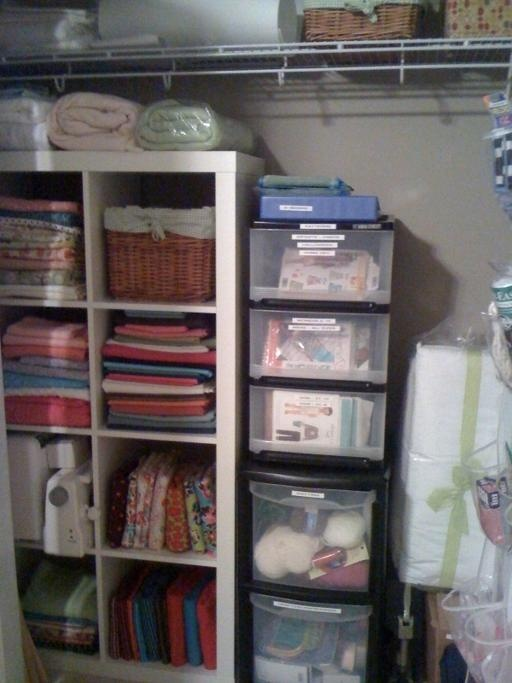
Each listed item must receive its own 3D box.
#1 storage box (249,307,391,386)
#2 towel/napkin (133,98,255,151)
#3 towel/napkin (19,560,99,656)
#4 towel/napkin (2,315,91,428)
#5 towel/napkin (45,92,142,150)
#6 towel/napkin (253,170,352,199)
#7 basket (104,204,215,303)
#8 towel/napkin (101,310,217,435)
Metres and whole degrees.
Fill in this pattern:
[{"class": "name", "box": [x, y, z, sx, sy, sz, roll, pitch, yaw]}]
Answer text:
[{"class": "storage box", "box": [0.162, -0.016, 1.543, 0.372, 0.186, 0.176, 2, 7, 12]}, {"class": "towel/napkin", "box": [-0.156, -0.538, 1.571, 0.222, 0.079, 0.167, -2, 25, -11]}, {"class": "towel/napkin", "box": [-0.600, 0.797, 1.870, 0.224, 0.214, 0.081, -4, -17, 8]}, {"class": "towel/napkin", "box": [-0.585, 0.099, 1.729, 0.241, 0.287, 0.109, -4, 8, -10]}, {"class": "towel/napkin", "box": [-0.405, -0.546, 1.566, 0.206, 0.147, 0.071, -2, -17, -1]}, {"class": "towel/napkin", "box": [0.117, -0.388, 1.551, 0.235, 0.054, 0.080, -2, 7, 2]}, {"class": "basket", "box": [-0.257, -0.230, 1.754, 0.334, 0.243, 0.255, 2, 18, 5]}, {"class": "towel/napkin", "box": [-0.266, 0.089, 1.621, 0.339, 0.317, 0.150, -1, -10, 5]}]
